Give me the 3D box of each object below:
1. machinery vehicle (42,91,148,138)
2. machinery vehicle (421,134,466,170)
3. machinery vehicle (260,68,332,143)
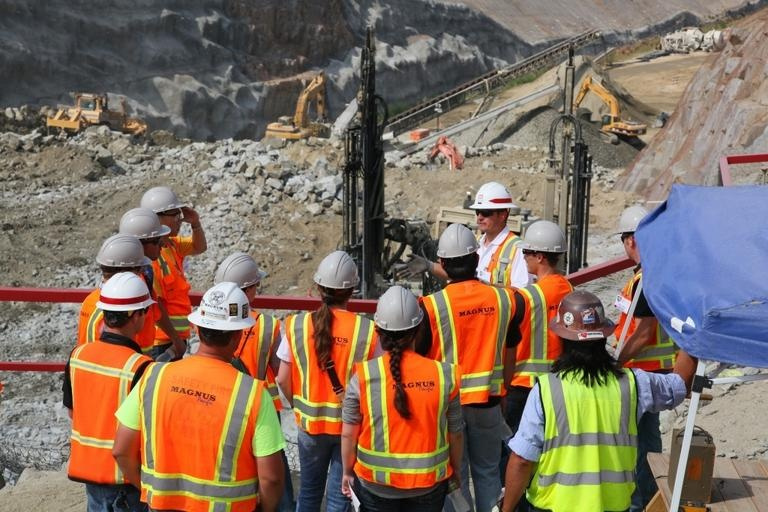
[{"bbox_3d":[-13.997,-6.847,58.824,3.180,1.918,3.783,7,9,39],"label":"machinery vehicle"},{"bbox_3d":[2.696,-4.648,53.394,0.523,1.286,2.517,-8,18,-25],"label":"machinery vehicle"},{"bbox_3d":[-4.386,-7.631,60.390,2.295,3.605,5.242,10,28,27],"label":"machinery vehicle"}]
